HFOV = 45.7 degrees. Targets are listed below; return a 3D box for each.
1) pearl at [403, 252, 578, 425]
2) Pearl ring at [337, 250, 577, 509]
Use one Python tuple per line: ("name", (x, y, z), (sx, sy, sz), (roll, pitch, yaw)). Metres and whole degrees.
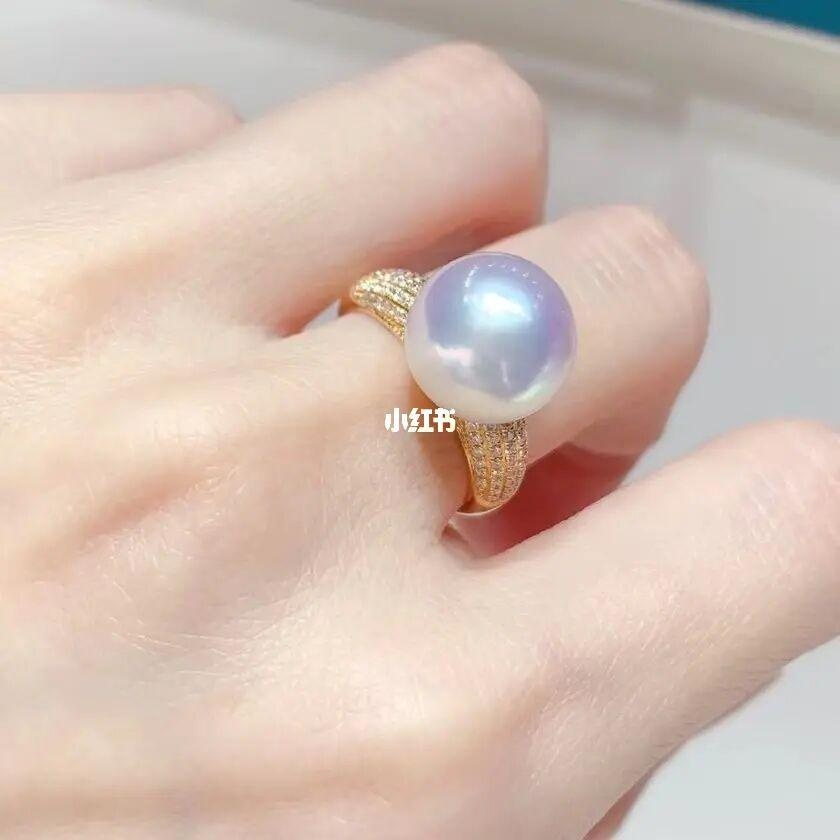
("pearl", (0.056, -0.062, 0.765), (0.128, 0.097, 0.115), (-15, 53, -17))
("Pearl ring", (0.028, -0.033, 0.779), (0.086, 0.204, 0.142), (-33, 72, -8))
